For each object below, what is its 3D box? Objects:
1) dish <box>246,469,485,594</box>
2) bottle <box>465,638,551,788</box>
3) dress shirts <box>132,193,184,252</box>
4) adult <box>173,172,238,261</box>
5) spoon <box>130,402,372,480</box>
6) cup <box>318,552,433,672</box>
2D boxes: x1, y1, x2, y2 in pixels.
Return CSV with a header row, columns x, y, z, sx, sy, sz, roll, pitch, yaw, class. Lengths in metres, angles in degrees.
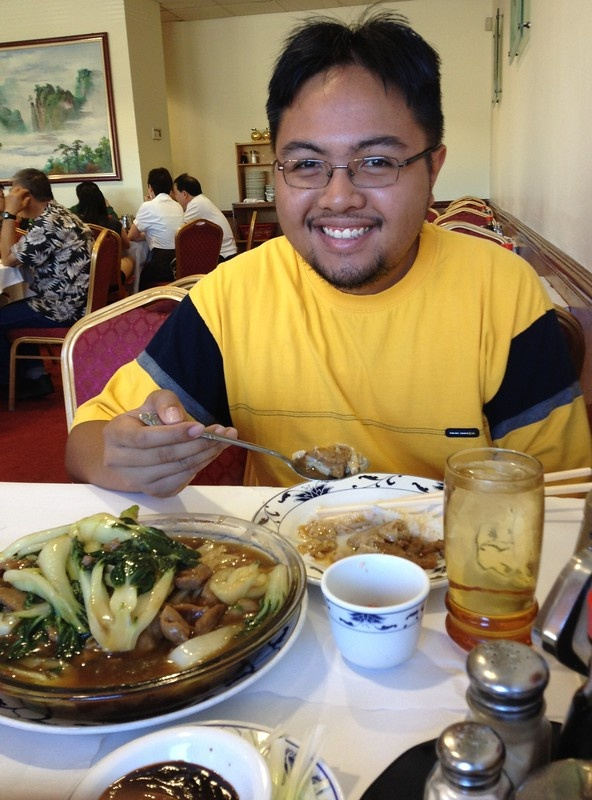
x,y,z,sx,sy,sz,roll,pitch,yaw,class
0.082,0.173,0.858,0.253,0.050,0.252,-2,12,35,dish
0.126,0.194,0.361,0.061,0.085,0.059,-3,14,1,bottle
-1.388,-1.650,6.063,0.526,0.942,0.530,0,18,-12,dress shirts
-1.198,-1.973,6.663,0.765,0.969,0.813,-19,20,-41,adult
-0.068,0.071,1.114,0.284,0.043,0.073,25,-20,-16,spoon
0.080,0.212,0.589,0.102,0.069,0.096,-3,13,1,cup
